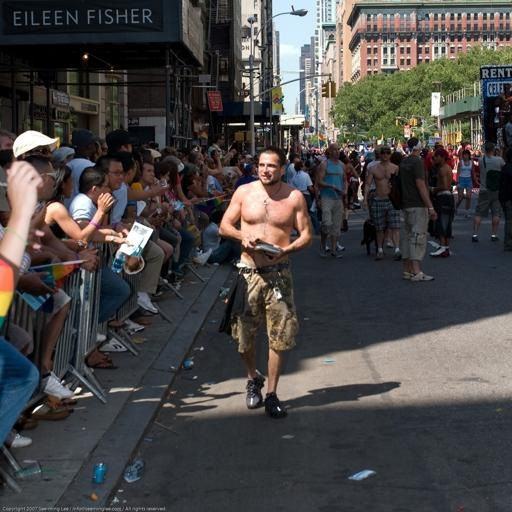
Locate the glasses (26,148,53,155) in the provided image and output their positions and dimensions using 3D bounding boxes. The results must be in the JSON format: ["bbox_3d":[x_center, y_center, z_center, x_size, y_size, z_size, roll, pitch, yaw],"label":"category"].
[{"bbox_3d":[-1.980,-0.970,5.818,0.231,0.057,0.202,-1,4,-5],"label":"glasses"}]

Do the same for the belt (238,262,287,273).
[{"bbox_3d":[0.057,0.083,4.906,0.400,0.081,0.186,0,6,2],"label":"belt"}]

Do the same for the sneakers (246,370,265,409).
[{"bbox_3d":[0.010,1.053,4.978,0.109,0.279,0.131,-8,-33,28],"label":"sneakers"}]

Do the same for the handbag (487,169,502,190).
[{"bbox_3d":[6.260,-2.001,16.547,0.583,0.494,0.199,1,2,5],"label":"handbag"}]

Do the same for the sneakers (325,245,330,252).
[{"bbox_3d":[1.766,-0.202,15.314,0.150,0.120,0.141,3,-4,-25],"label":"sneakers"}]

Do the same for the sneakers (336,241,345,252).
[{"bbox_3d":[2.090,-0.205,15.488,0.144,0.219,0.336,-3,-1,-22],"label":"sneakers"}]

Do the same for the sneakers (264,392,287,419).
[{"bbox_3d":[0.151,1.110,4.730,0.161,0.156,0.225,-1,6,1],"label":"sneakers"}]

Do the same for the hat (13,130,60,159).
[{"bbox_3d":[-1.973,-1.003,5.656,0.394,0.274,0.967,-2,6,-16],"label":"hat"}]

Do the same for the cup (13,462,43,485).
[{"bbox_3d":[-1.231,1.151,3.443,0.128,0.064,0.170,-1,6,-8],"label":"cup"}]

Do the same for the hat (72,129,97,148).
[{"bbox_3d":[-2.162,-1.473,7.999,0.228,0.163,0.307,10,32,28],"label":"hat"}]
